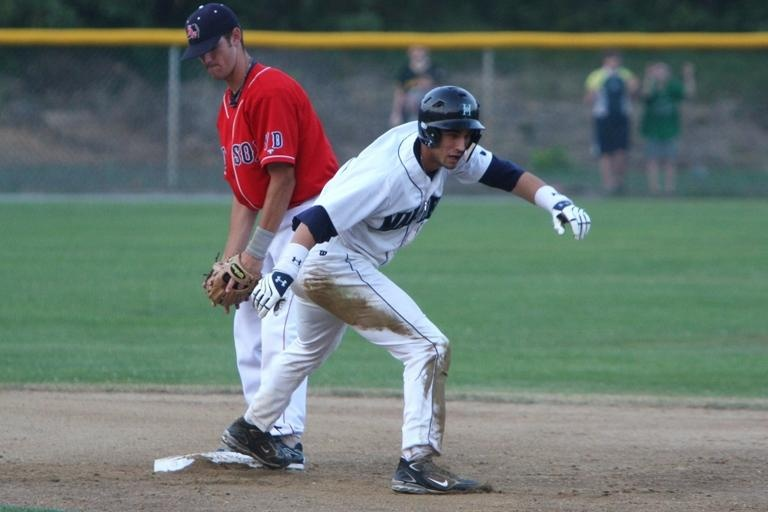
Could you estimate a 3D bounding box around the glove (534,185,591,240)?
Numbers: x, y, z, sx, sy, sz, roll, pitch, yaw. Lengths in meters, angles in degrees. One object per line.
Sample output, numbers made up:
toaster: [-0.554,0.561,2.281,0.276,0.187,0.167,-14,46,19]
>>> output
glove: [1.853,-0.422,15.478,0.658,0.415,0.261,40,3,23]

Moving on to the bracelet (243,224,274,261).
bracelet: [-1.233,-0.136,15.378,0.256,0.304,0.195,31,17,7]

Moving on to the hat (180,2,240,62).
hat: [-1.725,-2.304,15.350,0.566,0.565,0.228,1,3,-9]

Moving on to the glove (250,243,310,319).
glove: [-1.063,0.245,14.960,0.494,0.739,0.301,40,-18,-31]
